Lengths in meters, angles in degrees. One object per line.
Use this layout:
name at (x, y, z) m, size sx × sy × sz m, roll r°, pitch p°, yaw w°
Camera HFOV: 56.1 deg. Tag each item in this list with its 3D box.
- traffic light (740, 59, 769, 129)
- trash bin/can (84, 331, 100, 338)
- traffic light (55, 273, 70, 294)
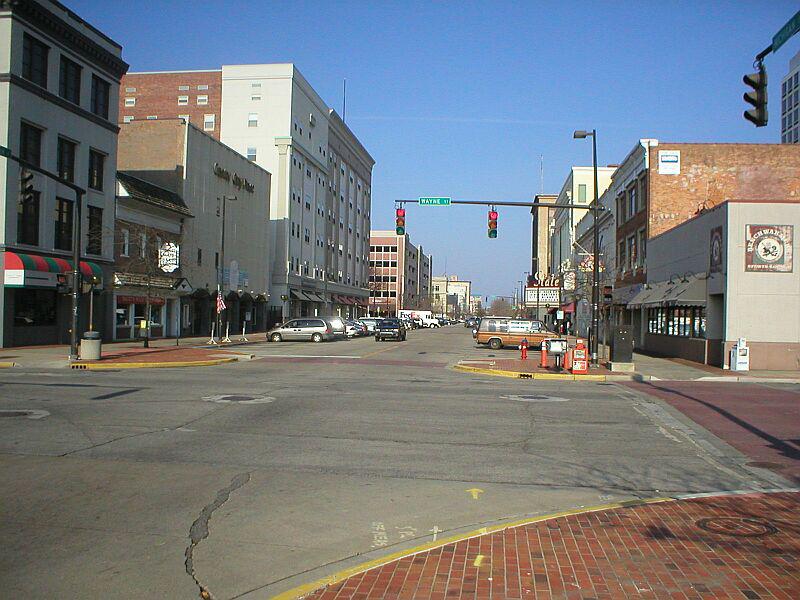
traffic light at (6.403, -3.759, 13.547) m, size 0.387 × 1.195 × 0.293 m, roll 2°, pitch 4°, yaw 11°
trash bin/can at (-11.453, 1.267, 27.821) m, size 0.327 × 0.213 × 0.343 m, roll 1°, pitch 0°, yaw 41°
traffic light at (-12.005, -0.609, 26.837) m, size 0.480 × 0.714 × 0.747 m, roll 0°, pitch 4°, yaw -23°
